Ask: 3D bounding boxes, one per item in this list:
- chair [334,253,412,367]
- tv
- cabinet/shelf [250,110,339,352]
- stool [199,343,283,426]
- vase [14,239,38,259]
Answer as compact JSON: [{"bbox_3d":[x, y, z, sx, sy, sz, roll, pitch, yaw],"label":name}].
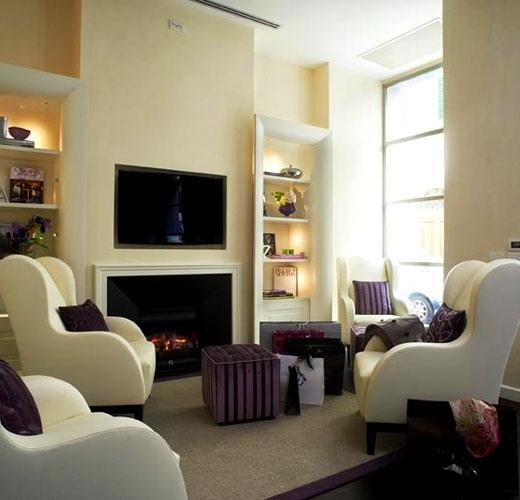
[{"bbox_3d":[1.178,0.522,5.069,0.709,1.486,0.927,1,-13,0],"label":"chair"},{"bbox_3d":[-0.882,-0.408,4.276,0.675,0.594,0.071,0,3,-30],"label":"tv"},{"bbox_3d":[0.368,-0.235,5.192,1.348,2.280,0.724,-1,2,-32],"label":"cabinet/shelf"},{"bbox_3d":[-0.148,0.885,3.101,0.394,0.436,0.436,1,-5,-19],"label":"stool"},{"bbox_3d":[-1.902,-0.017,3.695,0.128,0.240,0.134,2,-3,-44],"label":"vase"}]
